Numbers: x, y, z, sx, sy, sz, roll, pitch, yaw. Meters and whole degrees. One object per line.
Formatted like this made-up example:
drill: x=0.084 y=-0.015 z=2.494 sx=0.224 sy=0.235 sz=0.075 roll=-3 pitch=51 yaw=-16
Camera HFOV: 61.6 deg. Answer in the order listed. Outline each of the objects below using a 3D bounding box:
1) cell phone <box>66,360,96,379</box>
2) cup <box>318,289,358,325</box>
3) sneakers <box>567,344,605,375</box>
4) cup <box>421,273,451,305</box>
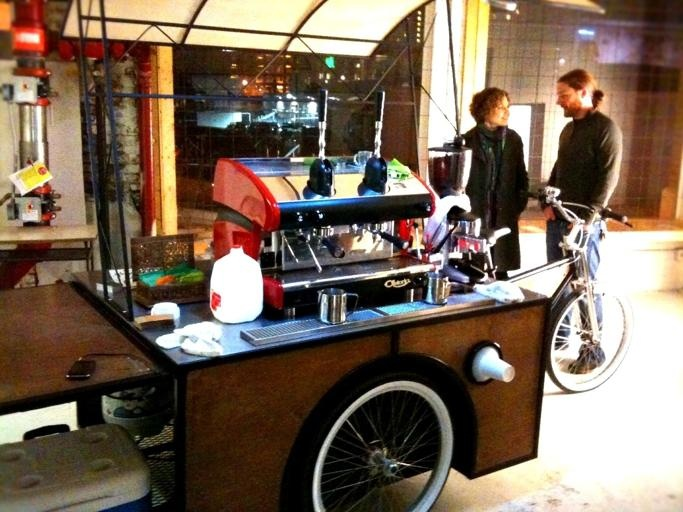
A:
cell phone: x=-0.888 y=0.389 z=1.955 sx=0.071 sy=0.012 sz=0.118 roll=4 pitch=20 yaw=-6
cup: x=-0.018 y=0.186 z=2.347 sx=0.162 sy=0.127 sz=0.221 roll=1 pitch=12 yaw=6
sneakers: x=1.703 y=0.701 z=4.037 sx=0.251 sy=0.240 sz=0.211 roll=9 pitch=34 yaw=17
cup: x=0.419 y=0.146 z=2.546 sx=0.133 sy=0.121 sz=0.114 roll=2 pitch=5 yaw=14
